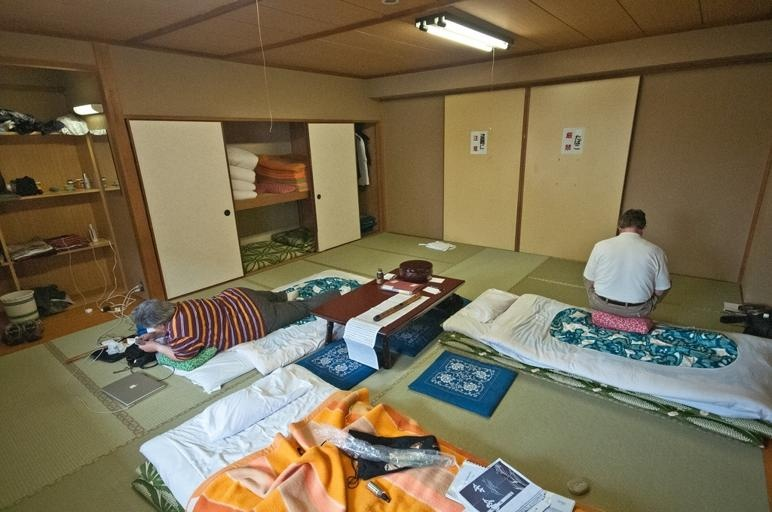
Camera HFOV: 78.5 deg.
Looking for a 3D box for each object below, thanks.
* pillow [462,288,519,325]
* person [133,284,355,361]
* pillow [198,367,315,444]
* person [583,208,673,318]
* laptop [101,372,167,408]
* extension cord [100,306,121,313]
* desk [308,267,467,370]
[{"bbox_3d":[1.170,0.510,5.042,0.335,0.061,0.552,16,31,36],"label":"pillow"},{"bbox_3d":[-1.517,0.562,4.990,2.095,0.484,0.580,-15,27,-31],"label":"person"},{"bbox_3d":[-1.066,1.230,4.045,0.867,0.151,0.427,-23,37,-34],"label":"pillow"},{"bbox_3d":[2.398,0.080,4.526,0.467,1.023,0.563,-13,23,-29],"label":"person"},{"bbox_3d":[-2.384,1.229,4.406,0.433,0.130,0.417,13,21,40],"label":"laptop"},{"bbox_3d":[-3.343,0.638,5.666,0.235,0.041,0.123,1,16,6],"label":"extension cord"},{"bbox_3d":[-0.047,0.453,4.812,1.018,0.308,1.472,11,24,31],"label":"desk"}]
